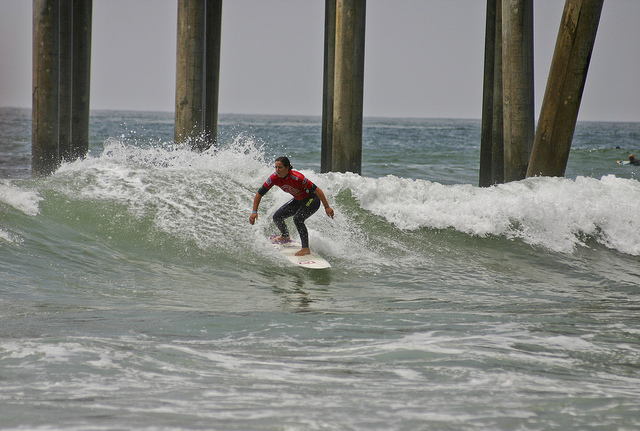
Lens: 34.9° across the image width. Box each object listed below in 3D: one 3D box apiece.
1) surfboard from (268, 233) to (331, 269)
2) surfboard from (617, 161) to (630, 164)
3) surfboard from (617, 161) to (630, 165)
[{"bbox_3d":[-0.351,0.683,17.392,0.380,0.212,1.575,-16,24,-28],"label":"surfboard"},{"bbox_3d":[10.030,-1.765,33.495,0.247,0.101,0.685,1,6,2],"label":"surfboard"},{"bbox_3d":[10.016,-1.750,33.386,0.280,0.110,0.557,2,6,6],"label":"surfboard"}]
